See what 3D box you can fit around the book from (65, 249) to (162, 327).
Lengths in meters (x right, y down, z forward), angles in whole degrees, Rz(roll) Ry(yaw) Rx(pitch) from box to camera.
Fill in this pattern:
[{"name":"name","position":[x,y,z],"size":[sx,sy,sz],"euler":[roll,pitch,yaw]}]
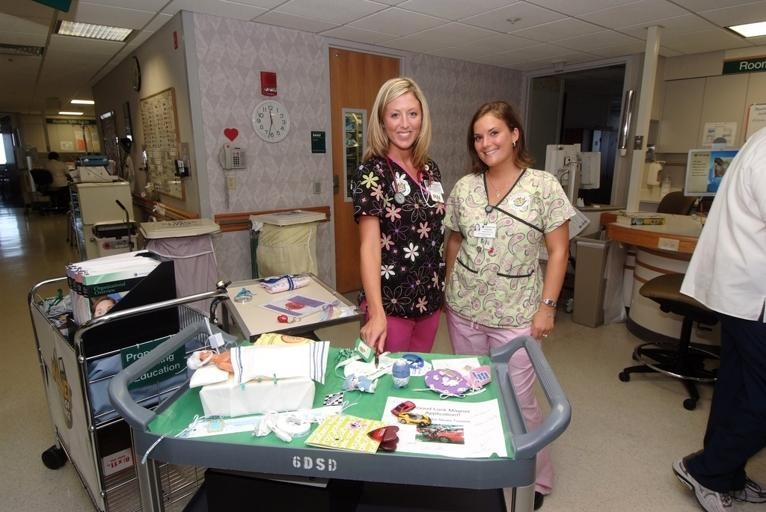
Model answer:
[{"name":"book","position":[-1.711,0.224,3.210],"size":[0.369,0.400,0.208],"euler":[-16,22,-38]}]

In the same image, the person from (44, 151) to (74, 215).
[{"name":"person","position":[-8.149,-1.841,12.658],"size":[0.441,1.513,0.754],"euler":[-12,17,-32]}]

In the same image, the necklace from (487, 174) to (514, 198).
[{"name":"necklace","position":[0.762,-0.441,3.240],"size":[0.193,0.146,0.103],"euler":[1,15,13]}]

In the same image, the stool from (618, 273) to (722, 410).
[{"name":"stool","position":[2.651,0.674,4.494],"size":[0.780,1.001,0.786],"euler":[5,17,22]}]

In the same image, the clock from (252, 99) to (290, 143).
[{"name":"clock","position":[-1.295,-1.532,5.690],"size":[0.479,0.526,0.050],"euler":[-1,8,-37]}]

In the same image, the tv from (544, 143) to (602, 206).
[{"name":"tv","position":[2.292,-0.926,5.953],"size":[0.437,0.823,0.556],"euler":[15,4,33]}]

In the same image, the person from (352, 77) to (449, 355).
[{"name":"person","position":[0.058,-0.185,3.140],"size":[0.396,1.754,0.792],"euler":[8,18,36]}]

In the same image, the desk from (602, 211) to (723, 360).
[{"name":"desk","position":[3.085,0.244,5.198],"size":[1.396,1.161,1.389],"euler":[2,13,4]}]

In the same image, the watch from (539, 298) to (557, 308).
[{"name":"watch","position":[1.054,0.298,3.227],"size":[0.074,0.051,0.076],"euler":[9,-5,-12]}]

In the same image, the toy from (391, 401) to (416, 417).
[{"name":"toy","position":[0.104,0.764,2.560],"size":[0.057,0.038,0.098],"euler":[10,21,40]}]

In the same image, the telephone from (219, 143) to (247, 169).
[{"name":"telephone","position":[-1.659,-1.084,5.532],"size":[0.291,0.273,0.114],"euler":[-7,15,-16]}]
